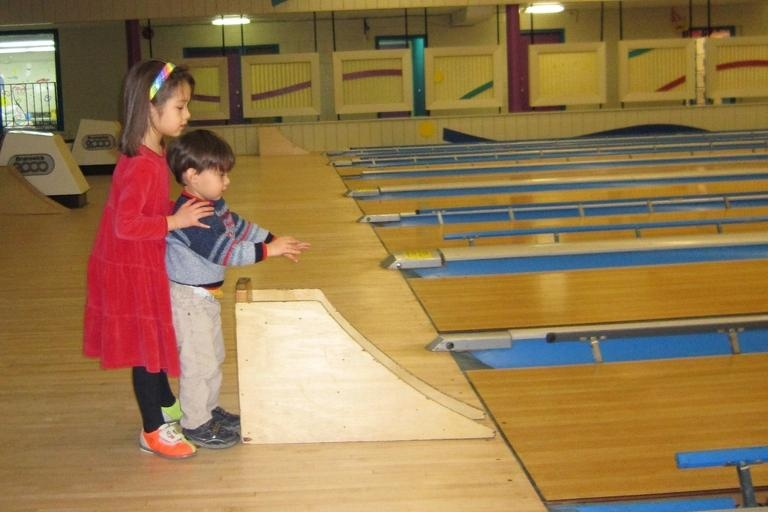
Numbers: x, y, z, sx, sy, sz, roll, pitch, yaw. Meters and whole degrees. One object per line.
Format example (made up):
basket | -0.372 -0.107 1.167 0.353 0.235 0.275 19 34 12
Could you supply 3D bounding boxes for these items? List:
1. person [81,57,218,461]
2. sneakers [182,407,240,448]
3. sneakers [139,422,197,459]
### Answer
person | -0.919 -0.008 3.079 0.518 1.525 0.572 -15 17 -42
sneakers | -0.676 0.676 3.062 0.157 0.055 0.181 0 6 -5
sneakers | -0.833 0.724 3.040 0.223 0.081 0.110 7 6 13
